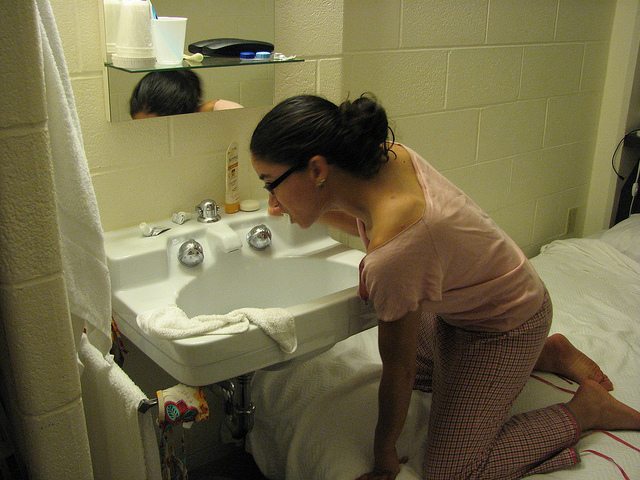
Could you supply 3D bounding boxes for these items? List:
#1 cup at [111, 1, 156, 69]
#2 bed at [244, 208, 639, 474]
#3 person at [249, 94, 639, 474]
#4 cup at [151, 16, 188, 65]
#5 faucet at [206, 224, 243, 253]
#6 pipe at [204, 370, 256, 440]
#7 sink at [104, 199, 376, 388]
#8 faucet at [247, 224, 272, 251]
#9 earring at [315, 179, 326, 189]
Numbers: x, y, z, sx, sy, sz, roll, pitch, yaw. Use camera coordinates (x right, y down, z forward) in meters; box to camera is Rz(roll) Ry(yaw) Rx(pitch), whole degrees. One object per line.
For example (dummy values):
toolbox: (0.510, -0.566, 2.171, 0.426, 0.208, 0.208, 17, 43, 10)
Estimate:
cup: (-0.484, -0.524, 1.306, 0.107, 0.160, 0.048, -4, 23, -6)
bed: (0.440, 0.392, 1.739, 1.058, 0.217, 1.031, -21, 24, -31)
person: (0.341, 0.129, 1.282, 0.925, 0.955, 0.371, -7, 24, -13)
cup: (-0.397, -0.530, 1.361, 0.117, 0.117, 0.117, 5, 26, -2)
faucet: (-0.281, 0.011, 1.517, 0.100, 0.048, 0.073, 39, 33, 23)
pipe: (-0.242, 0.473, 1.452, 0.154, 0.182, 0.123, -4, -8, 24)
sink: (-0.233, 0.125, 1.401, 0.666, 0.229, 0.582, -18, 32, -33)
faucet: (-0.181, -0.007, 1.530, 0.059, 0.062, 0.077, 1, -5, -14)
earring: (0.002, -0.128, 1.179, 0.019, 0.018, 0.014, 21, 42, 6)
